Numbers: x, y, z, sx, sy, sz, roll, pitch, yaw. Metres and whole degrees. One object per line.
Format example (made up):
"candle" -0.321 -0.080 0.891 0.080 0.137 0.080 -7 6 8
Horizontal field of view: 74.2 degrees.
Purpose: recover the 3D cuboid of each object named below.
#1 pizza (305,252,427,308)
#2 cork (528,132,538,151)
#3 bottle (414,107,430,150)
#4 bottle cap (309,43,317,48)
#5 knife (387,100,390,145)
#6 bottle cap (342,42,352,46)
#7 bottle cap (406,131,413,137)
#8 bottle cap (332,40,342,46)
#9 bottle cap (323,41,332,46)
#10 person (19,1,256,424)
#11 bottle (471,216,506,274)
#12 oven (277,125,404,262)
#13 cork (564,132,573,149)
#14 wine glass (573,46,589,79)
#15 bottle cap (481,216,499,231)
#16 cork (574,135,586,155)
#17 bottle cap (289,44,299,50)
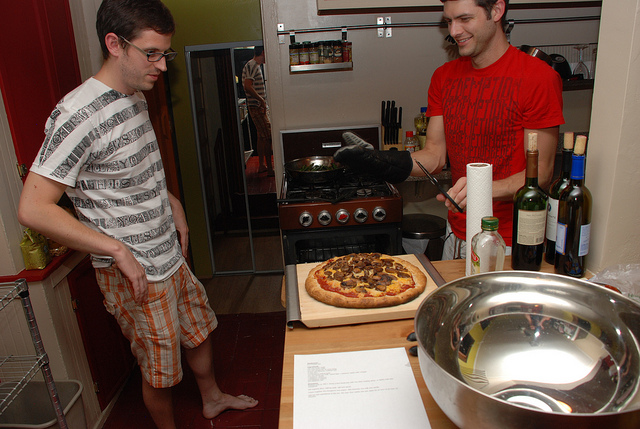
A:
"pizza" 0.182 0.251 1.678 0.478 0.066 0.346 -3 20 4
"cork" 0.723 -0.244 1.439 0.024 0.061 0.021 2 22 19
"bottle" 0.859 -0.663 3.458 0.148 0.360 0.151 -4 19 1
"bottle cap" -0.048 -1.335 3.371 0.049 0.032 0.030 0 25 -2
"knife" 0.553 -0.748 3.439 0.015 0.283 0.038 4 9 6
"bottle cap" 0.221 -1.355 3.397 0.092 0.027 0.035 -21 26 -38
"bottle cap" 0.713 -0.631 3.369 0.042 0.039 0.042 -2 12 0
"bottle cap" 0.122 -1.334 3.350 0.069 0.046 0.038 3 49 5
"bottle cap" 0.056 -1.353 3.377 0.096 0.049 0.020 2 1 10
"person" -0.937 0.176 2.154 0.831 2.296 0.418 -18 24 -32
"bottle" 0.579 0.110 1.472 0.093 0.237 0.102 -4 21 2
"oven" 0.117 -0.007 3.038 0.723 0.950 0.693 -6 32 -6
"cork" 0.832 -0.243 1.421 0.025 0.064 0.058 7 24 29
"wine glass" 2.151 -1.242 3.486 0.141 0.248 0.081 -4 21 2
"bottle cap" 0.558 0.032 1.391 0.046 0.031 0.046 0 11 0
"cork" 0.861 -0.227 1.402 0.029 0.068 0.071 7 23 29
"bottle cap" -0.206 -1.320 3.367 0.078 0.037 0.021 -5 20 -2
